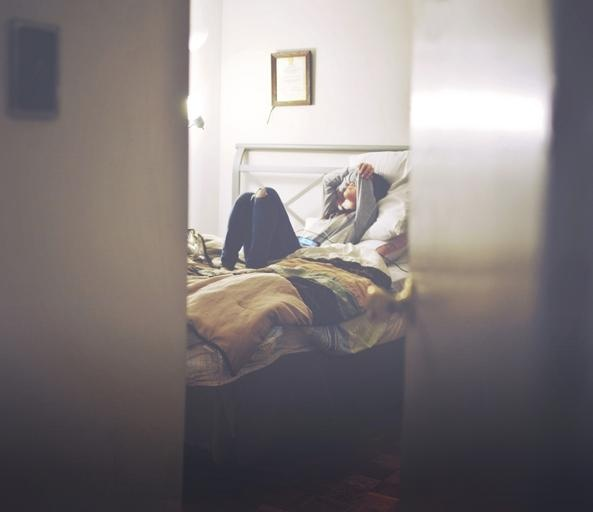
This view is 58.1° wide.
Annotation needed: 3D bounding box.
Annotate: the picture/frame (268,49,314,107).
[{"bbox_3d":[-0.020,-0.774,2.301,0.200,0.254,0.025,2,6,18],"label":"picture/frame"}]
